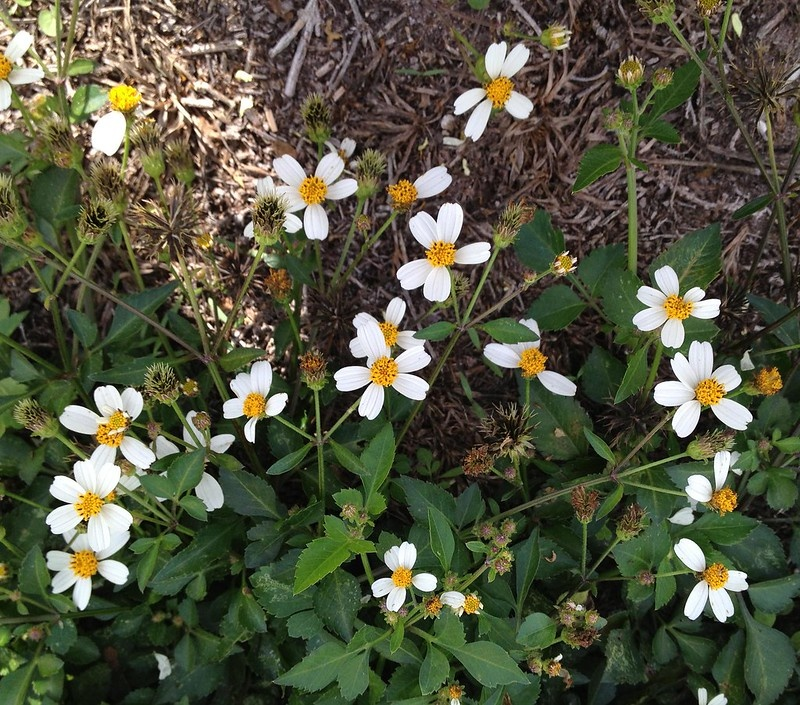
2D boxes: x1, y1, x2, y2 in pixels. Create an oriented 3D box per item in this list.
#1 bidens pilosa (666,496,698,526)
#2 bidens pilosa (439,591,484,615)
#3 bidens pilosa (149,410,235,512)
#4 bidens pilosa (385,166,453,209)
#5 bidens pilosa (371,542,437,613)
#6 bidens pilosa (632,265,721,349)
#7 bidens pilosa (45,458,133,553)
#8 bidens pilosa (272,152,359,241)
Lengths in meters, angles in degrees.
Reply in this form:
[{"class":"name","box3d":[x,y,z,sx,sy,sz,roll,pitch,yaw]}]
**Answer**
[{"class":"bidens pilosa","box3d":[1.046,0.602,2.586,0.124,0.081,0.058,-45,23,16]},{"class":"bidens pilosa","box3d":[0.204,0.831,2.295,0.123,0.091,0.039,14,3,-28]},{"class":"bidens pilosa","box3d":[-0.692,0.381,2.425,0.296,0.075,0.337,-17,73,-16]},{"class":"bidens pilosa","box3d":[0.073,-0.611,2.630,0.252,0.146,0.135,-25,13,-1]},{"class":"bidens pilosa","box3d":[0.004,0.754,2.246,0.193,0.247,0.164,-24,45,-19]},{"class":"bidens pilosa","box3d":[0.928,-0.142,2.323,0.255,0.195,0.169,18,48,24]},{"class":"bidens pilosa","box3d":[-1.037,0.507,2.278,0.270,0.262,0.170,-14,42,-8]},{"class":"bidens pilosa","box3d":[-0.341,-0.606,2.595,0.342,0.387,0.083,-5,72,5]}]
